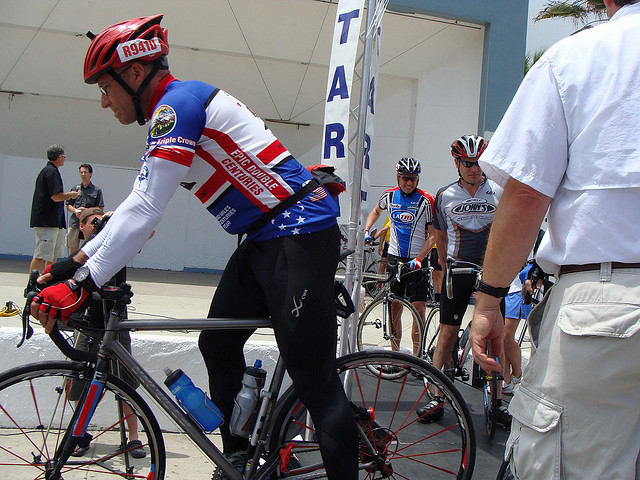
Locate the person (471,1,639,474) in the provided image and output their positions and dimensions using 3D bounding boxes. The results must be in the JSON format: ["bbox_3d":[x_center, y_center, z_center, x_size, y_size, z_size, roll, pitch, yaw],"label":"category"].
[{"bbox_3d":[0.890,0.029,2.036,0.641,1.777,0.359,7,6,23],"label":"person"}]

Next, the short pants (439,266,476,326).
[{"bbox_3d":[1.141,0.461,4.634,0.110,0.476,0.241,4,1,-37],"label":"short pants"}]

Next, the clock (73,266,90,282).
[{"bbox_3d":[-1.018,0.144,2.366,0.059,0.062,0.017,11,-7,18],"label":"clock"}]

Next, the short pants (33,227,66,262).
[{"bbox_3d":[-4.204,-0.006,8.570,0.333,0.624,0.600,3,6,-5],"label":"short pants"}]

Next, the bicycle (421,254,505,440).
[{"bbox_3d":[1.126,1.005,5.075,0.732,1.397,1.929,-7,-10,8],"label":"bicycle"}]

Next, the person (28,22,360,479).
[{"bbox_3d":[-0.476,0.034,2.601,1.444,2.001,0.438,4,5,-6],"label":"person"}]

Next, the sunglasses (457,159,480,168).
[{"bbox_3d":[1.265,-0.655,4.744,0.192,0.067,0.082,9,7,33],"label":"sunglasses"}]

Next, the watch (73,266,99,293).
[{"bbox_3d":[-1.000,0.174,2.374,0.051,0.080,0.109,44,-12,16],"label":"watch"}]
